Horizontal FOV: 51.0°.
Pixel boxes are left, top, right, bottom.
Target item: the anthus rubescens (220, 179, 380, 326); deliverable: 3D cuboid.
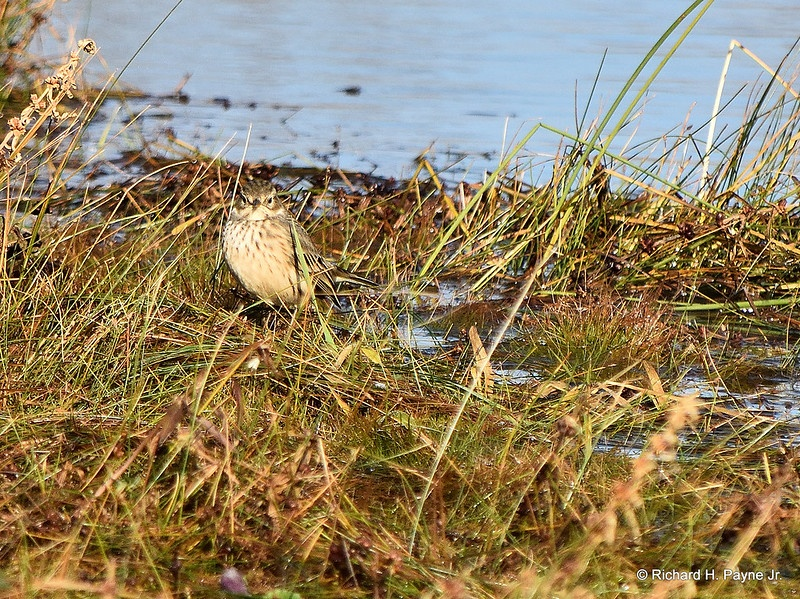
[{"bbox_3d":[-0.607,-0.289,5.287,0.629,0.750,1.180,11,6,40],"label":"anthus rubescens"}]
